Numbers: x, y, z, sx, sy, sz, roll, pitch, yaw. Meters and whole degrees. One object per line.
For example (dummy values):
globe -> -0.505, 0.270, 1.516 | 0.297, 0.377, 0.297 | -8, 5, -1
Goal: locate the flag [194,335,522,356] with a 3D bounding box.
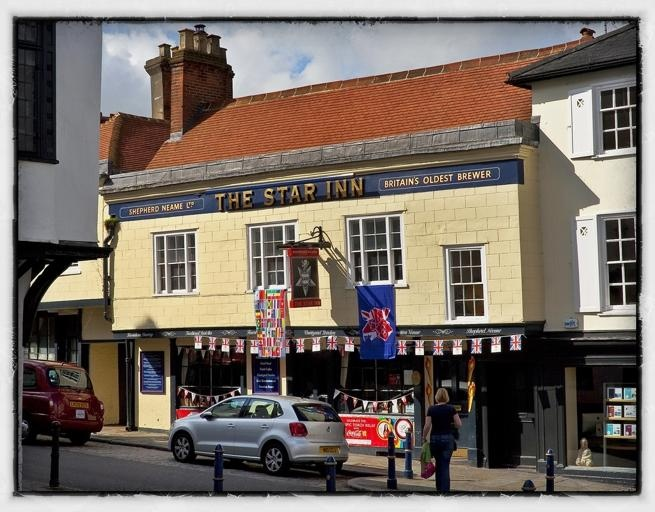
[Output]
flag -> 0.538, 2.423, 34.363 | 9.956, 0.586, 1.209 | -3, -7, 27

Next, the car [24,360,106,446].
car -> -6.638, 3.745, 32.881 | 1.397, 1.447, 2.667 | 5, -5, -39

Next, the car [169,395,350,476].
car -> -1.609, 4.346, 30.877 | 3.568, 1.417, 1.821 | -1, -7, 36

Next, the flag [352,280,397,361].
flag -> 1.314, 1.729, 33.569 | 1.112, 1.946, 0.225 | -2, -7, 26
